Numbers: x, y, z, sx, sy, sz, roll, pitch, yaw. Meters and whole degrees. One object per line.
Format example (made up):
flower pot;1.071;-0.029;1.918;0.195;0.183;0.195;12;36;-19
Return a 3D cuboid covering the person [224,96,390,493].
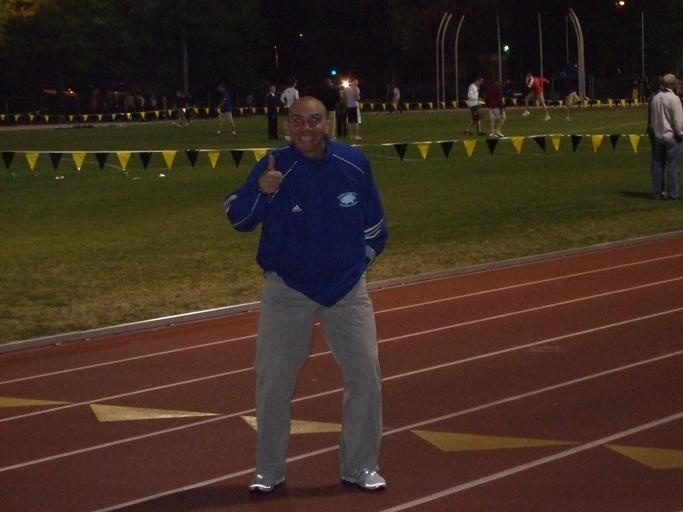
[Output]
person;-0.153;0.250;3.936;0.811;2.354;0.410;-1;8;4

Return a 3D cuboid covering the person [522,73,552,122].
person;10.217;-8.545;34.495;1.440;2.738;1.086;7;30;33

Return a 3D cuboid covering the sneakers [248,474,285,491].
sneakers;-0.452;1.380;4.032;0.232;0.125;0.096;13;-17;-41

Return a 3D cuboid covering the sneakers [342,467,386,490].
sneakers;0.139;1.339;3.986;0.229;0.105;0.144;7;-7;-23
